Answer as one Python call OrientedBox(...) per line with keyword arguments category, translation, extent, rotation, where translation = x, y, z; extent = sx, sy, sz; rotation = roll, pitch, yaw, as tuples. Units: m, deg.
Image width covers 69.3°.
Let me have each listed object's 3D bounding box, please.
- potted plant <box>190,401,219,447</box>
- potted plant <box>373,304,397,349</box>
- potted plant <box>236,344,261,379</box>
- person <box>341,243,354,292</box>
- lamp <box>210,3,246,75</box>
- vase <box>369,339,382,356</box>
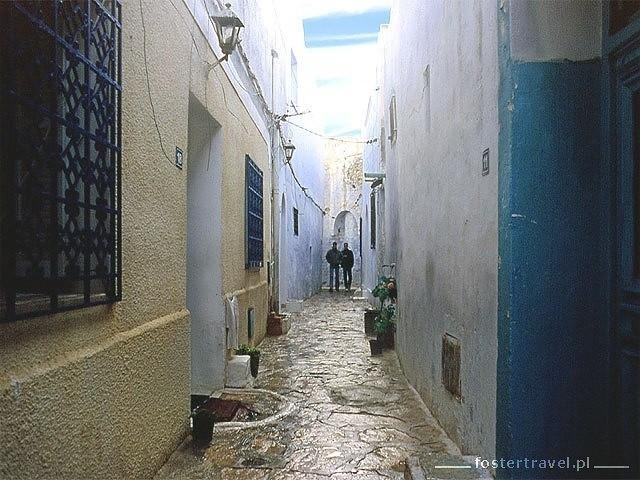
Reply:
OrientedBox(category="potted plant", translation=(-1.055, 1.653, 4.127), extent=(0.197, 0.394, 0.227), rotation=(4, -1, 1))
OrientedBox(category="potted plant", translation=(1.151, 1.513, 8.009), extent=(0.432, 0.762, 0.463), rotation=(5, -15, 0))
OrientedBox(category="potted plant", translation=(-0.924, 1.635, 6.186), extent=(0.253, 0.412, 0.369), rotation=(1, -1, 45))
OrientedBox(category="person", translation=(1.142, 1.187, 20.192), extent=(0.488, 1.808, 1.670), rotation=(2, -1, 2))
OrientedBox(category="lamp", translation=(-1.099, -2.319, 5.369), extent=(0.350, 0.824, 0.796), rotation=(2, -1, -13))
OrientedBox(category="vase", translation=(0.913, 1.803, 7.757), extent=(0.182, 0.282, 0.213), rotation=(-4, -4, 33))
